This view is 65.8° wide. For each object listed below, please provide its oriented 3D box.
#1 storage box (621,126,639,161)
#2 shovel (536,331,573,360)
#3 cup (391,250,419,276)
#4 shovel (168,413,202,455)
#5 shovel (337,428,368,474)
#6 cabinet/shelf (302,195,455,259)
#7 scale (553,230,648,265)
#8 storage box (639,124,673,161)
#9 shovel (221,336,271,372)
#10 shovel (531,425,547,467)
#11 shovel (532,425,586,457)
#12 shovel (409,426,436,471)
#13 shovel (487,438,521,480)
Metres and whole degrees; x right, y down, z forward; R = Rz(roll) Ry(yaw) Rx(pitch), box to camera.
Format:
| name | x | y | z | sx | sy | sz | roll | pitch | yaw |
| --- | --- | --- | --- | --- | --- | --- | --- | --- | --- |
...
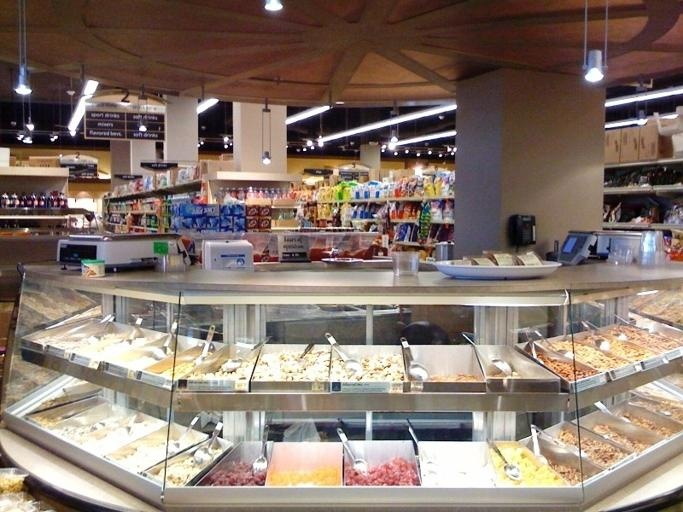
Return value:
| name | x | y | z | sx | sy | sz | roll | pitch | yaw |
| --- | --- | --- | --- | --- | --- | --- | --- | --- | --- |
| storage box | 4.575 | -1.768 | 8.260 | 0.248 | 0.446 | 0.257 | -11 | 18 | -37 |
| shovel | 1.237 | 0.518 | 3.009 | 0.172 | 0.049 | 0.168 | 1 | 3 | -44 |
| cup | 0.389 | 0.044 | 3.230 | 0.157 | 0.113 | 0.138 | -1 | 0 | 27 |
| shovel | -0.854 | 0.965 | 2.874 | 0.028 | 0.189 | 0.110 | 2 | -34 | 38 |
| shovel | 0.063 | 1.154 | 3.099 | 0.108 | 0.047 | 0.343 | 17 | -23 | 24 |
| cabinet/shelf | 0.770 | -0.528 | 8.659 | 0.716 | 0.820 | 3.859 | -3 | 7 | -18 |
| scale | 2.056 | -0.065 | 4.251 | 0.462 | 0.286 | 0.701 | 0 | 6 | 7 |
| storage box | 4.731 | -1.725 | 7.967 | 0.353 | 0.460 | 0.356 | -7 | 14 | 24 |
| shovel | -0.566 | 0.585 | 3.082 | 0.181 | 0.203 | 0.313 | 5 | 7 | 33 |
| shovel | 1.123 | 1.074 | 2.997 | 0.045 | 0.218 | 0.033 | -14 | -39 | 10 |
| shovel | 1.204 | 1.019 | 2.948 | 0.052 | 0.094 | 0.274 | -7 | 9 | -44 |
| shovel | 0.455 | 1.066 | 2.957 | 0.134 | 0.193 | 0.195 | -1 | 6 | -2 |
| shovel | 0.964 | 1.143 | 3.084 | 0.434 | 0.138 | 0.058 | 30 | -32 | -36 |
